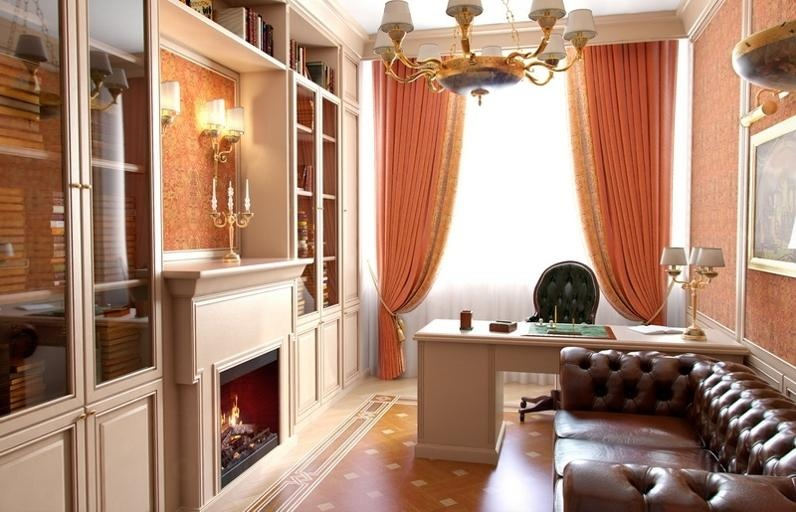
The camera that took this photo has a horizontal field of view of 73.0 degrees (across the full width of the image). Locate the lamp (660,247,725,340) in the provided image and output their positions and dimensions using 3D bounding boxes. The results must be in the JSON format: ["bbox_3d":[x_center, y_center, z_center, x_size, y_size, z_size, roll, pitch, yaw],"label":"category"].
[{"bbox_3d":[2.370,0.295,4.319,0.505,0.711,0.485,-1,-2,31],"label":"lamp"}]

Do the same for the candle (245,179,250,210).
[{"bbox_3d":[-1.222,-0.497,4.381,0.055,0.267,0.605,-2,7,-15],"label":"candle"}]
